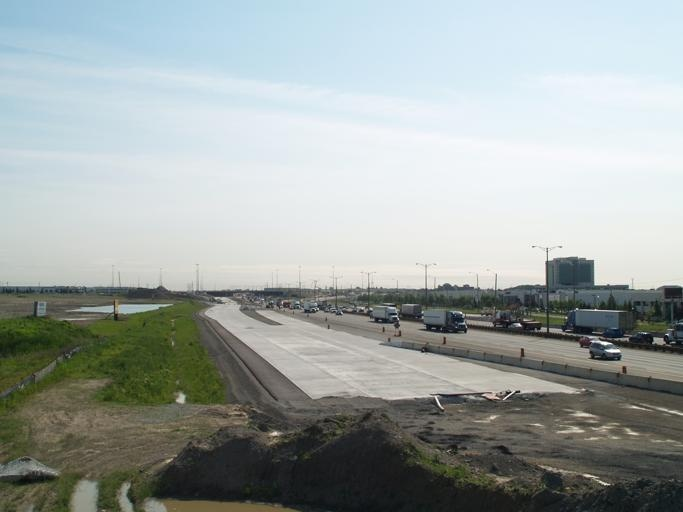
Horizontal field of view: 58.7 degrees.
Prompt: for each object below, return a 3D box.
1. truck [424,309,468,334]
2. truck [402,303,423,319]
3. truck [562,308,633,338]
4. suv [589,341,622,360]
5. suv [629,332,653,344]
[{"bbox_3d":[15.653,9.987,93.593,2.725,3.340,6.176,0,0,-40],"label":"truck"},{"bbox_3d":[14.595,11.314,124.909,2.609,2.139,4.482,-1,3,-26],"label":"truck"},{"bbox_3d":[36.411,9.436,87.241,3.438,3.018,9.561,1,-1,-26],"label":"truck"},{"bbox_3d":[26.429,9.653,61.841,1.786,1.711,2.820,0,0,-27],"label":"suv"},{"bbox_3d":[37.321,10.407,76.736,1.745,1.076,2.720,2,-1,-35],"label":"suv"}]
